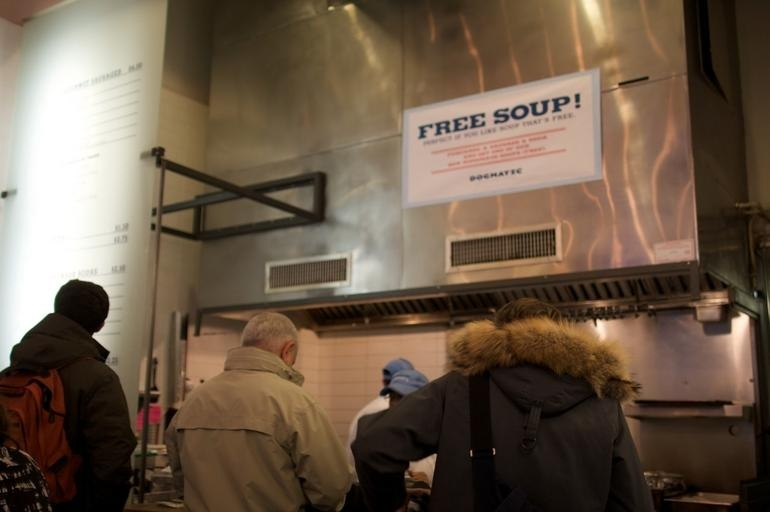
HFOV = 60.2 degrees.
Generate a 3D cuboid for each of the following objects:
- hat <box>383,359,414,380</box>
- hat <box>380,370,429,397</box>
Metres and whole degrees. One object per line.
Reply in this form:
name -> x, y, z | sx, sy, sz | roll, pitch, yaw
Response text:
hat -> 0.079, 0.737, 4.294 | 0.185, 0.107, 0.121 | -1, -13, 31
hat -> 0.118, 0.740, 3.829 | 0.193, 0.113, 0.294 | -4, -11, 22
